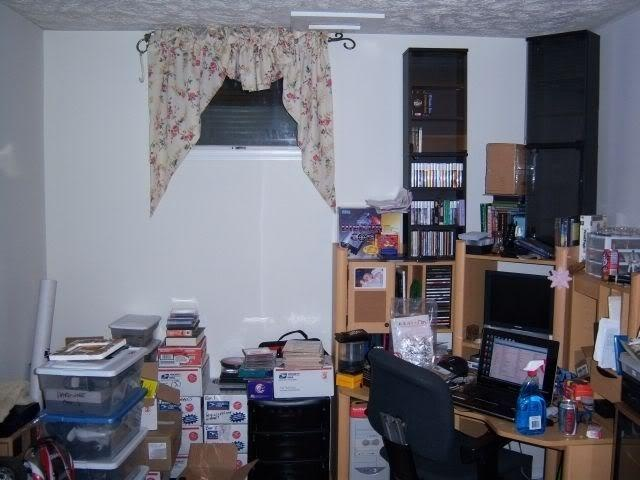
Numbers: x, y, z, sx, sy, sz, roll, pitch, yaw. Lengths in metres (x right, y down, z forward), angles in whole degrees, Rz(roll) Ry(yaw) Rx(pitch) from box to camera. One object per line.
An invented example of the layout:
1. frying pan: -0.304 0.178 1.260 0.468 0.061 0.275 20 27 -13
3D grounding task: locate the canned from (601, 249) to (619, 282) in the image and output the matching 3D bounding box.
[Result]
1. canned: 1.775 0.158 3.498 0.091 0.193 0.090 0 4 27

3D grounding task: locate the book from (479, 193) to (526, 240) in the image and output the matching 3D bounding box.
1. book: 1.369 -0.177 4.252 0.358 0.382 0.273 -1 -15 13

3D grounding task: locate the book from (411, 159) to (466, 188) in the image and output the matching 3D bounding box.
1. book: 0.871 -0.479 4.267 0.405 0.194 0.041 -3 4 -3

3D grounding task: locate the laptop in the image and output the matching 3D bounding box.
1. laptop: 1.221 0.852 3.732 0.574 0.433 0.499 6 5 43

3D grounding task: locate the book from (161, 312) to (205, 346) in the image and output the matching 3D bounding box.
1. book: -1.009 0.639 4.242 0.232 0.164 0.242 0 0 -7

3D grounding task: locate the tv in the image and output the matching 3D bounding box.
1. tv: 1.399 0.444 4.013 0.432 0.386 0.044 2 9 30

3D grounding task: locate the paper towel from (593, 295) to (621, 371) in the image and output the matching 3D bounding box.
1. paper towel: 1.709 0.550 3.454 0.114 0.369 0.263 4 3 25

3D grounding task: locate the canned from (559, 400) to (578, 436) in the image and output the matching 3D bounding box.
1. canned: 1.504 1.060 3.441 0.145 0.212 0.069 -4 4 -26

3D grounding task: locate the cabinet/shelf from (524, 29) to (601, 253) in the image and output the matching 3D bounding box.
1. cabinet/shelf: 1.784 -0.729 4.294 0.446 1.564 0.308 5 21 32

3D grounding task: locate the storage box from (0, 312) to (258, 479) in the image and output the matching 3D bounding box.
1. storage box: -1.180 1.123 3.781 1.423 1.094 1.335 -2 4 6

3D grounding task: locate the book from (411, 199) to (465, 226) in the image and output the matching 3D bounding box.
1. book: 0.870 -0.193 4.261 0.416 0.195 0.028 -3 4 -5

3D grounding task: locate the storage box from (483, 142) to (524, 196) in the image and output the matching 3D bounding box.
1. storage box: 1.423 -0.538 4.415 0.301 0.380 0.298 0 3 -41
